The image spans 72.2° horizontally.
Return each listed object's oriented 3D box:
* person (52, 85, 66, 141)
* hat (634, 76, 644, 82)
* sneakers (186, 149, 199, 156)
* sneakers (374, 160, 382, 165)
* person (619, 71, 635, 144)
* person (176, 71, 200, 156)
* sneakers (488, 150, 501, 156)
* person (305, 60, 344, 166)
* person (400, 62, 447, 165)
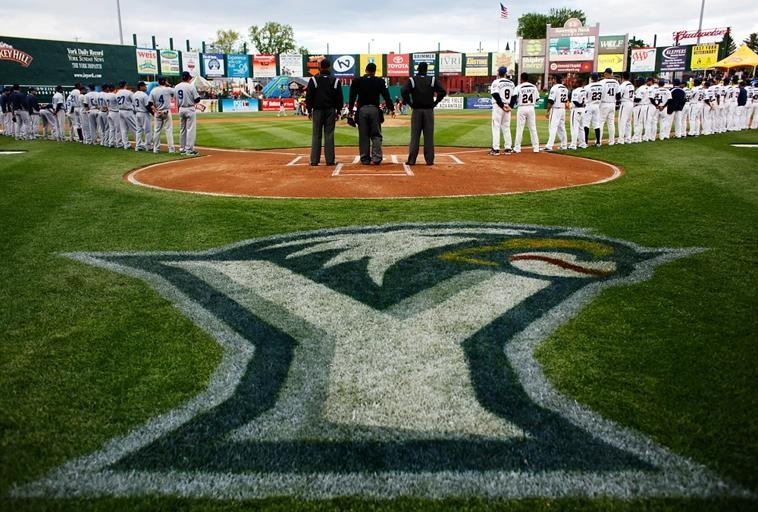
[{"bbox_3d":[-12.601,-5.667,20.526,0.494,1.925,1.130,-11,22,-28],"label":"person"},{"bbox_3d":[8.365,-5.658,16.513,0.236,0.164,0.368,17,15,11],"label":"hat"},{"bbox_3d":[-5.415,-3.032,15.096,0.400,0.152,0.162,-6,17,-30],"label":"sneakers"},{"bbox_3d":[-0.001,-2.269,12.647,0.158,0.123,0.123,9,-11,-42],"label":"sneakers"},{"bbox_3d":[7.823,-4.651,16.365,0.537,2.099,0.703,9,21,24],"label":"person"},{"bbox_3d":[-5.365,-4.041,14.727,0.553,2.286,0.878,-16,25,-38],"label":"person"},{"bbox_3d":[3.249,-2.885,14.379,0.393,0.156,0.135,3,11,5],"label":"sneakers"},{"bbox_3d":[-1.265,-3.385,12.251,0.865,2.443,0.837,-3,19,-7],"label":"person"},{"bbox_3d":[1.064,-3.421,12.480,0.936,2.332,1.581,2,19,7],"label":"person"}]
